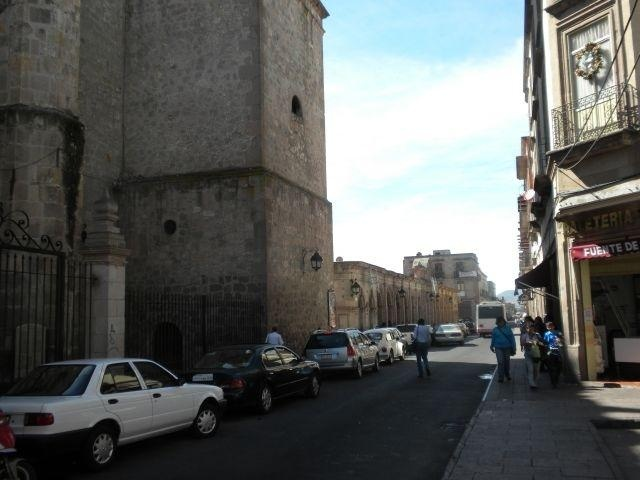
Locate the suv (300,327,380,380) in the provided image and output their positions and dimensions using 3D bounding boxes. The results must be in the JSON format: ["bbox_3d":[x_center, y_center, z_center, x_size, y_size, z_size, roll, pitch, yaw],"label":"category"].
[{"bbox_3d":[1.085,4.159,22.610,1.296,1.188,3.044,-3,-7,22],"label":"suv"}]

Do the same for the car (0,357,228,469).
[{"bbox_3d":[-3.905,3.048,11.113,1.465,1.206,2.976,-4,-7,31],"label":"car"}]

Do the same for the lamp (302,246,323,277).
[{"bbox_3d":[-0.176,0.883,26.859,0.926,1.404,0.873,-7,-10,31],"label":"lamp"}]
